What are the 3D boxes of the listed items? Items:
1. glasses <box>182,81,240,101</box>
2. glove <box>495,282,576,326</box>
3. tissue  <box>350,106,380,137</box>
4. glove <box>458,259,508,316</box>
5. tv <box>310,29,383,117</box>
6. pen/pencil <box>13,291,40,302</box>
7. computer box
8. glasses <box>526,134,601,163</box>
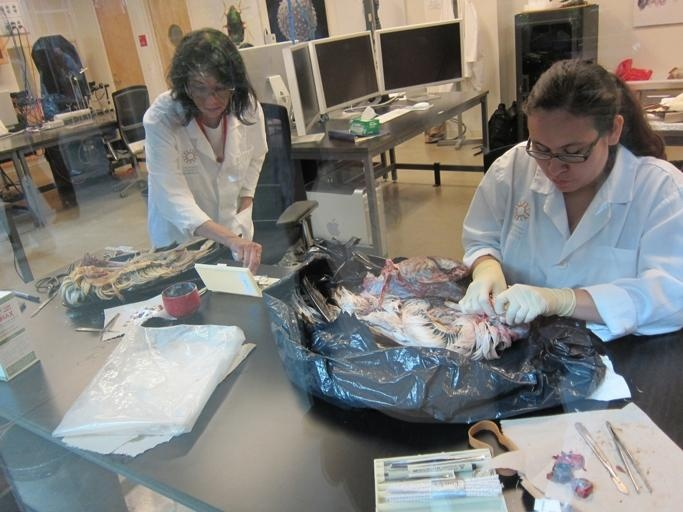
[{"bbox_3d":[-0.277,-0.352,1.054,0.101,0.041,0.046,-11,21,-12],"label":"glasses"},{"bbox_3d":[0.393,0.112,1.061,0.095,0.060,0.155,23,-24,-36],"label":"glove"},{"bbox_3d":[0.116,-0.636,2.388,0.165,0.173,0.170,-1,28,3],"label":"tissue "},{"bbox_3d":[0.330,0.070,1.154,0.093,0.059,0.184,-19,13,14],"label":"glove"},{"bbox_3d":[0.037,-0.837,2.252,0.050,0.302,0.492,-25,24,-27],"label":"tv"},{"bbox_3d":[-0.859,0.112,1.362,0.071,0.014,0.015,17,5,18],"label":"pen/pencil"},{"bbox_3d":[-0.003,-0.135,1.295,0.215,0.202,0.119,6,46,18],"label":"computer box"},{"bbox_3d":[0.516,-0.249,1.174,0.157,0.058,0.052,7,24,32],"label":"glasses"}]
